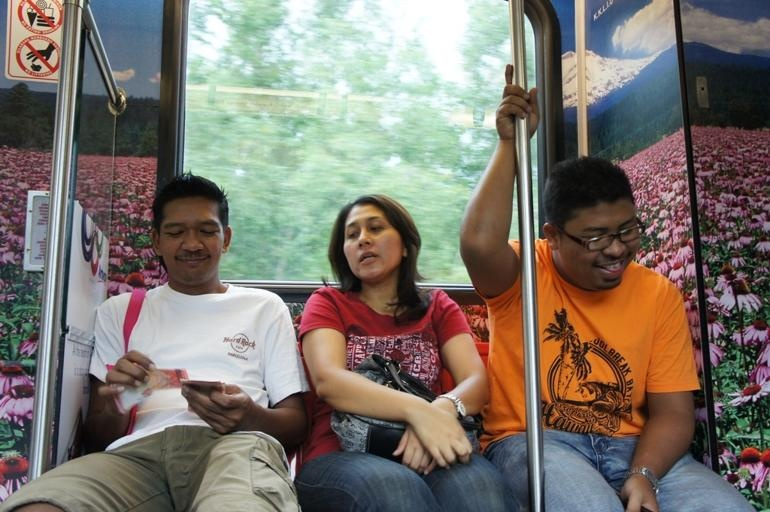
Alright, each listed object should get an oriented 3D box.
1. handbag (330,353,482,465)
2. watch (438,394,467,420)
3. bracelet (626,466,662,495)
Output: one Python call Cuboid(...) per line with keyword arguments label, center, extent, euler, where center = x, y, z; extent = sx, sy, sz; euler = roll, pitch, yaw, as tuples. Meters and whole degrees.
Cuboid(label="handbag", center=(0.070, 0.564, 2.177), extent=(0.527, 0.361, 0.236), euler=(1, 5, -6))
Cuboid(label="watch", center=(0.265, 0.546, 2.171), extent=(0.094, 0.093, 0.055), euler=(-30, -8, 25))
Cuboid(label="bracelet", center=(0.924, 0.778, 2.122), extent=(0.104, 0.108, 0.077), euler=(-16, 11, 10))
